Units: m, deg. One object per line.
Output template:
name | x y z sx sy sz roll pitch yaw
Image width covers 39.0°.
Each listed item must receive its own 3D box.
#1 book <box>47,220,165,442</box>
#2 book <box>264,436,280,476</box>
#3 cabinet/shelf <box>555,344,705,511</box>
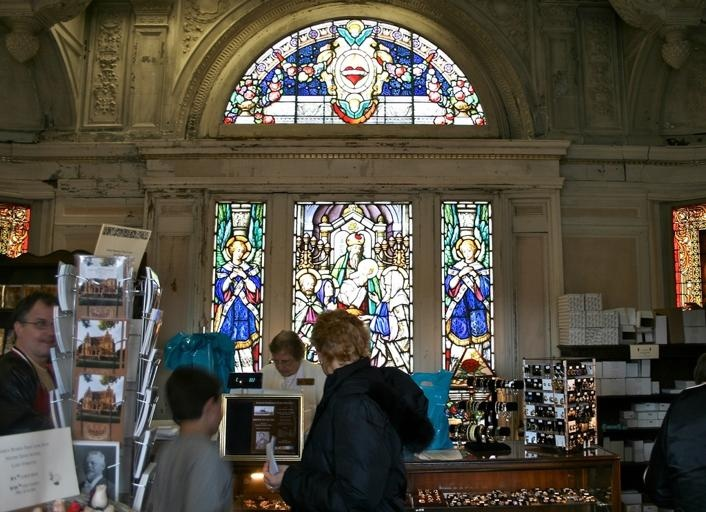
book | -1.751 0.645 7.090 0.746 1.300 0.300 2 -12 -12
book | -0.567 1.427 7.076 0.078 0.350 0.073 0 -4 -28
cabinet/shelf | 2.340 1.477 8.492 1.535 1.723 0.432 0 -8 -1
